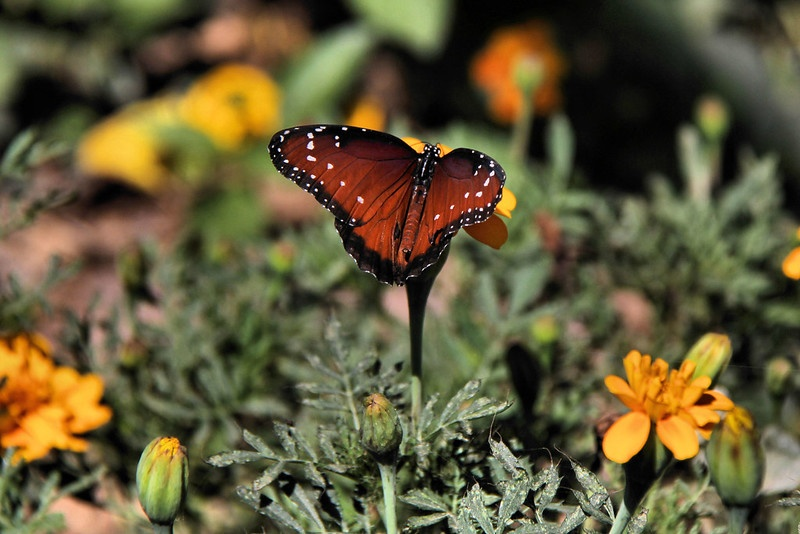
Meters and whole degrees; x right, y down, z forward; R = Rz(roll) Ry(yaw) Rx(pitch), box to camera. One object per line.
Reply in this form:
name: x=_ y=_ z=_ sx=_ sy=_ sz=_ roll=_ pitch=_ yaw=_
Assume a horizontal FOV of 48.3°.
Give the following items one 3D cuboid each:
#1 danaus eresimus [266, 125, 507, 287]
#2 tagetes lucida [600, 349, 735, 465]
danaus eresimus: x=-0.026 y=-0.113 z=1.445 sx=0.395 sy=0.264 sz=0.205 roll=14 pitch=-11 yaw=14
tagetes lucida: x=0.398 y=0.210 z=1.381 sx=0.179 sy=0.089 sz=0.218 roll=-6 pitch=21 yaw=-14
